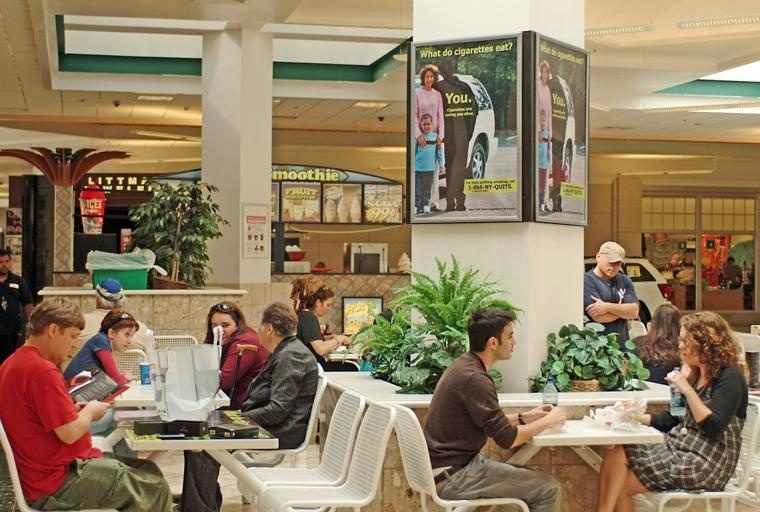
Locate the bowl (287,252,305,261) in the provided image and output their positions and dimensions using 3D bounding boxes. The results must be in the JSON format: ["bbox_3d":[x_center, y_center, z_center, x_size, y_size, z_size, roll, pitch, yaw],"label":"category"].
[{"bbox_3d":[-1.801,0.002,13.987,0.230,0.116,0.235,3,-7,0],"label":"bowl"}]

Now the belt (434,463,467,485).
[{"bbox_3d":[0.439,1.347,4.039,0.159,0.063,0.121,-34,-1,-12],"label":"belt"}]

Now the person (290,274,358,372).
[{"bbox_3d":[-0.641,0.884,7.407,0.788,1.229,0.691,2,6,3],"label":"person"}]

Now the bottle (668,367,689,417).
[{"bbox_3d":[2.036,0.922,4.454,0.118,0.317,0.115,1,-5,0],"label":"bottle"}]

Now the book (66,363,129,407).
[{"bbox_3d":[-1.835,0.803,4.145,0.298,0.095,0.304,30,43,35],"label":"book"}]

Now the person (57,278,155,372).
[{"bbox_3d":[-2.924,0.959,7.190,0.716,1.371,0.621,-8,17,-41],"label":"person"}]

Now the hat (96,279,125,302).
[{"bbox_3d":[-2.917,0.362,7.035,0.220,0.164,0.306,-6,35,-34],"label":"hat"}]

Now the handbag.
[{"bbox_3d":[-1.227,0.788,4.224,0.425,0.604,0.441,2,-9,-10],"label":"handbag"}]

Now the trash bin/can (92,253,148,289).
[{"bbox_3d":[-3.461,0.198,8.728,0.608,0.388,0.470,0,0,-13],"label":"trash bin/can"}]

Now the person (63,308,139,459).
[{"bbox_3d":[-2.261,1.028,5.345,0.581,1.106,0.409,2,-6,-22],"label":"person"}]

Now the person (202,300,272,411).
[{"bbox_3d":[-1.135,0.814,5.205,0.458,0.788,0.363,16,-47,-15],"label":"person"}]

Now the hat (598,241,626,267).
[{"bbox_3d":[2.122,-0.030,6.091,0.230,0.192,0.330,9,-4,-13],"label":"hat"}]
